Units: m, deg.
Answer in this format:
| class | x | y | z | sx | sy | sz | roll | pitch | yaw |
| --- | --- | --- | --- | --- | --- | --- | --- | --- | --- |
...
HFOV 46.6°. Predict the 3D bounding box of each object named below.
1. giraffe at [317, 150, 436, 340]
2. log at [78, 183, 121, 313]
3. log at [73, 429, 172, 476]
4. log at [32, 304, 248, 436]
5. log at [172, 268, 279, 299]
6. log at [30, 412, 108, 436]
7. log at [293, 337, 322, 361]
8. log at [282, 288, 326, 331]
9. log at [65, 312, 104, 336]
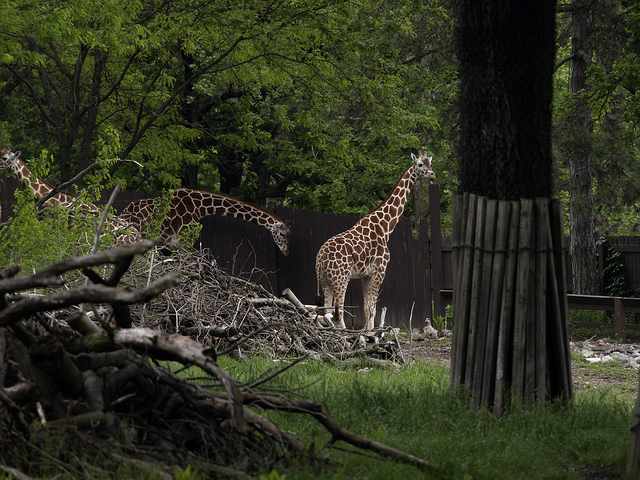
| class | x | y | z | sx | sy | sz | roll | pitch | yaw |
| --- | --- | --- | --- | --- | --- | --- | --- | --- | --- |
| giraffe | 0.839 | -0.019 | 13.369 | 1.841 | 3.290 | 4.619 | -1 | -3 | 15 |
| log | -2.159 | 0.088 | 7.193 | 0.269 | 0.153 | 1.785 | 9 | -47 | -20 |
| log | -1.584 | 1.701 | 5.936 | 0.890 | 0.322 | 0.156 | -1 | -3 | 18 |
| log | -1.431 | 0.919 | 5.816 | 1.870 | 0.989 | 0.463 | 4 | 13 | 17 |
| log | -1.346 | 0.610 | 10.261 | 0.100 | 0.259 | 1.718 | -40 | -41 | 22 |
| log | -2.050 | 1.519 | 6.096 | 0.554 | 0.172 | 0.146 | -8 | -39 | -8 |
| log | -0.183 | 1.505 | 9.985 | 0.503 | 0.173 | 0.160 | 32 | -15 | 7 |
| log | -0.254 | 1.058 | 11.072 | 0.081 | 0.606 | 0.095 | -36 | -20 | -9 |
| log | -1.932 | 0.689 | 6.034 | 0.159 | 0.121 | 0.311 | 9 | -25 | 40 |
